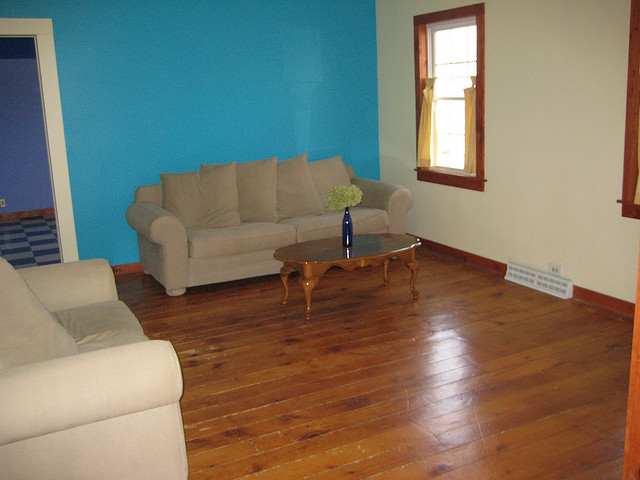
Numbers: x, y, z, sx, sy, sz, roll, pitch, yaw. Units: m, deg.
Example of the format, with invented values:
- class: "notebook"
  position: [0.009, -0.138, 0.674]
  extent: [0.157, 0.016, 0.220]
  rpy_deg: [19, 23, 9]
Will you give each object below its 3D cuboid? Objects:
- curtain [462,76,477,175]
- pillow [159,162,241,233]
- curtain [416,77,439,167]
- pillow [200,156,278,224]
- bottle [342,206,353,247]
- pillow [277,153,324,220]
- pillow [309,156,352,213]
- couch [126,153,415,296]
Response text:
- class: "curtain"
  position: [1.583, -1.206, 5.460]
  extent: [0.105, 1.017, 0.255]
  rpy_deg: [0, 16, 10]
- class: "pillow"
  position: [-1.284, -0.465, 5.512]
  extent: [0.846, 0.733, 0.319]
  rpy_deg: [-8, 2, -26]
- class: "curtain"
  position: [1.244, -1.368, 5.998]
  extent: [0.146, 1.016, 0.216]
  rpy_deg: [-13, 19, -32]
- class: "pillow"
  position: [-0.855, -0.504, 5.496]
  extent: [0.666, 0.646, 0.222]
  rpy_deg: [-6, -9, 6]
- class: "bottle"
  position: [0.245, -0.132, 4.731]
  extent: [0.094, 0.341, 0.230]
  rpy_deg: [-2, 16, 3]
- class: "pillow"
  position: [-0.237, -0.590, 5.641]
  extent: [0.650, 0.597, 0.189]
  rpy_deg: [-12, -4, -23]
- class: "pillow"
  position: [0.057, -0.628, 6.120]
  extent: [0.610, 0.553, 0.172]
  rpy_deg: [-19, -3, -30]
- class: "couch"
  position: [-0.520, -0.290, 5.782]
  extent: [3.049, 1.259, 1.091]
  rpy_deg: [-9, 15, -30]
